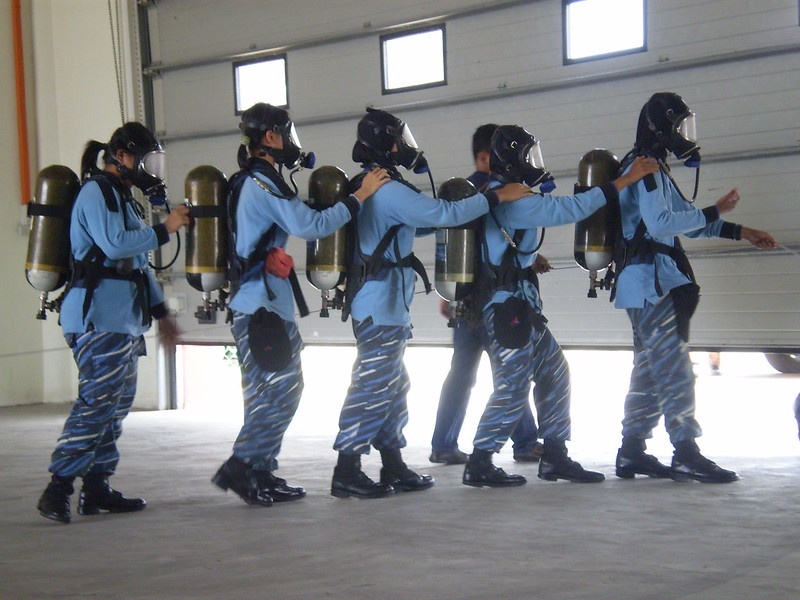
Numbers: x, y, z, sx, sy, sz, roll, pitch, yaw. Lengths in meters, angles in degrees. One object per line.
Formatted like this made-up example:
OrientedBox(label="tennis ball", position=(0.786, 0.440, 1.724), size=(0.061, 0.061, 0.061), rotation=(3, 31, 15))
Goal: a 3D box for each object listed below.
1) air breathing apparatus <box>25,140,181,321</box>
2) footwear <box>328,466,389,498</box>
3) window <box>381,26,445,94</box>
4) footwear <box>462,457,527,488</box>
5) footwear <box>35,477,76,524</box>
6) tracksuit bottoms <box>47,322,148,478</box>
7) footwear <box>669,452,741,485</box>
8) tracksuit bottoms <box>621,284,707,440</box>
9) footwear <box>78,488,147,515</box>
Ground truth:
OrientedBox(label="air breathing apparatus", position=(-2.028, -0.394, 5.181), size=(1.388, 0.970, 0.354), rotation=(-1, -1, -2))
OrientedBox(label="footwear", position=(-0.259, 1.136, 4.773), size=(0.434, 0.215, 0.145), rotation=(-1, -6, -1))
OrientedBox(label="window", position=(0.148, -2.367, 7.538), size=(0.978, 0.603, 0.069), rotation=(0, 0, 26))
OrientedBox(label="footwear", position=(0.547, 1.115, 4.956), size=(0.559, 0.199, 0.150), rotation=(-2, -4, -1))
OrientedBox(label="footwear", position=(-1.981, 1.146, 4.443), size=(0.184, 0.273, 0.179), rotation=(-4, 7, -27))
OrientedBox(label="tracksuit bottoms", position=(-1.782, 0.621, 4.584), size=(0.327, 0.905, 0.575), rotation=(3, 7, 31))
OrientedBox(label="footwear", position=(1.876, 1.065, 4.870), size=(0.518, 0.179, 0.157), rotation=(0, -2, 9))
OrientedBox(label="tracksuit bottoms", position=(1.678, 0.448, 5.009), size=(0.231, 0.973, 0.521), rotation=(-6, 8, -40))
OrientedBox(label="footwear", position=(-1.736, 1.214, 4.701), size=(0.455, 0.147, 0.144), rotation=(0, -2, -18))
